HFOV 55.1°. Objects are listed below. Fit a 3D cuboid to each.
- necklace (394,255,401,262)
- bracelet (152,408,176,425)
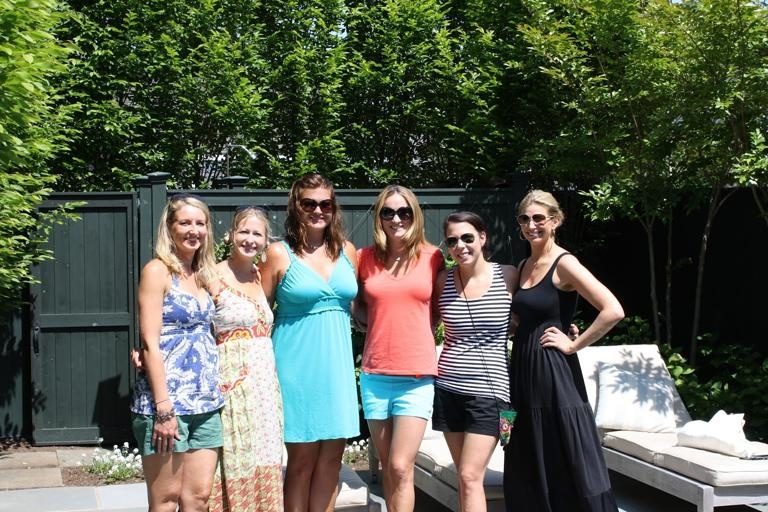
[{"bbox_3d":[0.098,0.023,5.731,0.045,0.043,0.011,-2,-14,5],"label":"necklace"},{"bbox_3d":[-1.552,1.135,5.184,0.140,0.094,0.038,2,12,-12],"label":"bracelet"}]
